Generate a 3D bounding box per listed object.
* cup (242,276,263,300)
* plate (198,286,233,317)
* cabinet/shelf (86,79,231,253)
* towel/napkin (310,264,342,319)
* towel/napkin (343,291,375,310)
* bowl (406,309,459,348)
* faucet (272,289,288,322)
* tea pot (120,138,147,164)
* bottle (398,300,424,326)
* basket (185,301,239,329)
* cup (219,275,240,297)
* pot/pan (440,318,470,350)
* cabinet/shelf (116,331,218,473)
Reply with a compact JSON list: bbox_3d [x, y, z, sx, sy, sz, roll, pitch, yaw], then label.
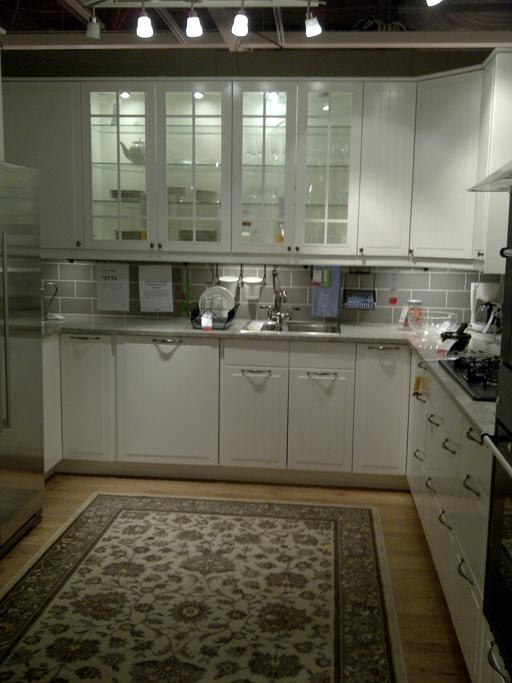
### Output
[{"bbox_3d":[-0.025,-0.350,3.535,0.134,0.138,0.145,0,13,0],"label":"cup"},{"bbox_3d":[-0.257,-0.256,3.409,0.198,0.207,0.197,1,8,12],"label":"plate"},{"bbox_3d":[-0.561,-1.093,3.227,0.941,1.100,0.384,1,5,5],"label":"cabinet/shelf"},{"bbox_3d":[0.448,-0.316,3.445,0.169,0.316,0.066,1,4,-3],"label":"towel/napkin"},{"bbox_3d":[0.667,-0.271,3.480,0.215,0.124,0.146,0,12,7],"label":"towel/napkin"},{"bbox_3d":[1.096,-0.091,3.324,0.291,0.177,0.298,0,9,0],"label":"bowl"},{"bbox_3d":[0.154,-0.227,3.522,0.103,0.221,0.147,1,4,2],"label":"faucet"},{"bbox_3d":[-0.723,-1.135,3.248,0.169,0.120,0.104,-2,24,-7],"label":"tea pot"},{"bbox_3d":[0.984,-0.178,3.399,0.145,0.205,0.155,0,6,0],"label":"bottle"},{"bbox_3d":[-0.273,-0.158,3.253,0.227,0.112,0.160,2,26,5],"label":"basket"},{"bbox_3d":[-0.173,-0.367,3.643,0.131,0.104,0.124,0,10,0],"label":"cup"},{"bbox_3d":[0.966,-0.033,2.625,0.169,0.118,0.135,-12,9,-43],"label":"pot/pan"},{"bbox_3d":[-0.500,0.340,3.510,0.776,1.070,0.692,1,3,5],"label":"cabinet/shelf"}]
